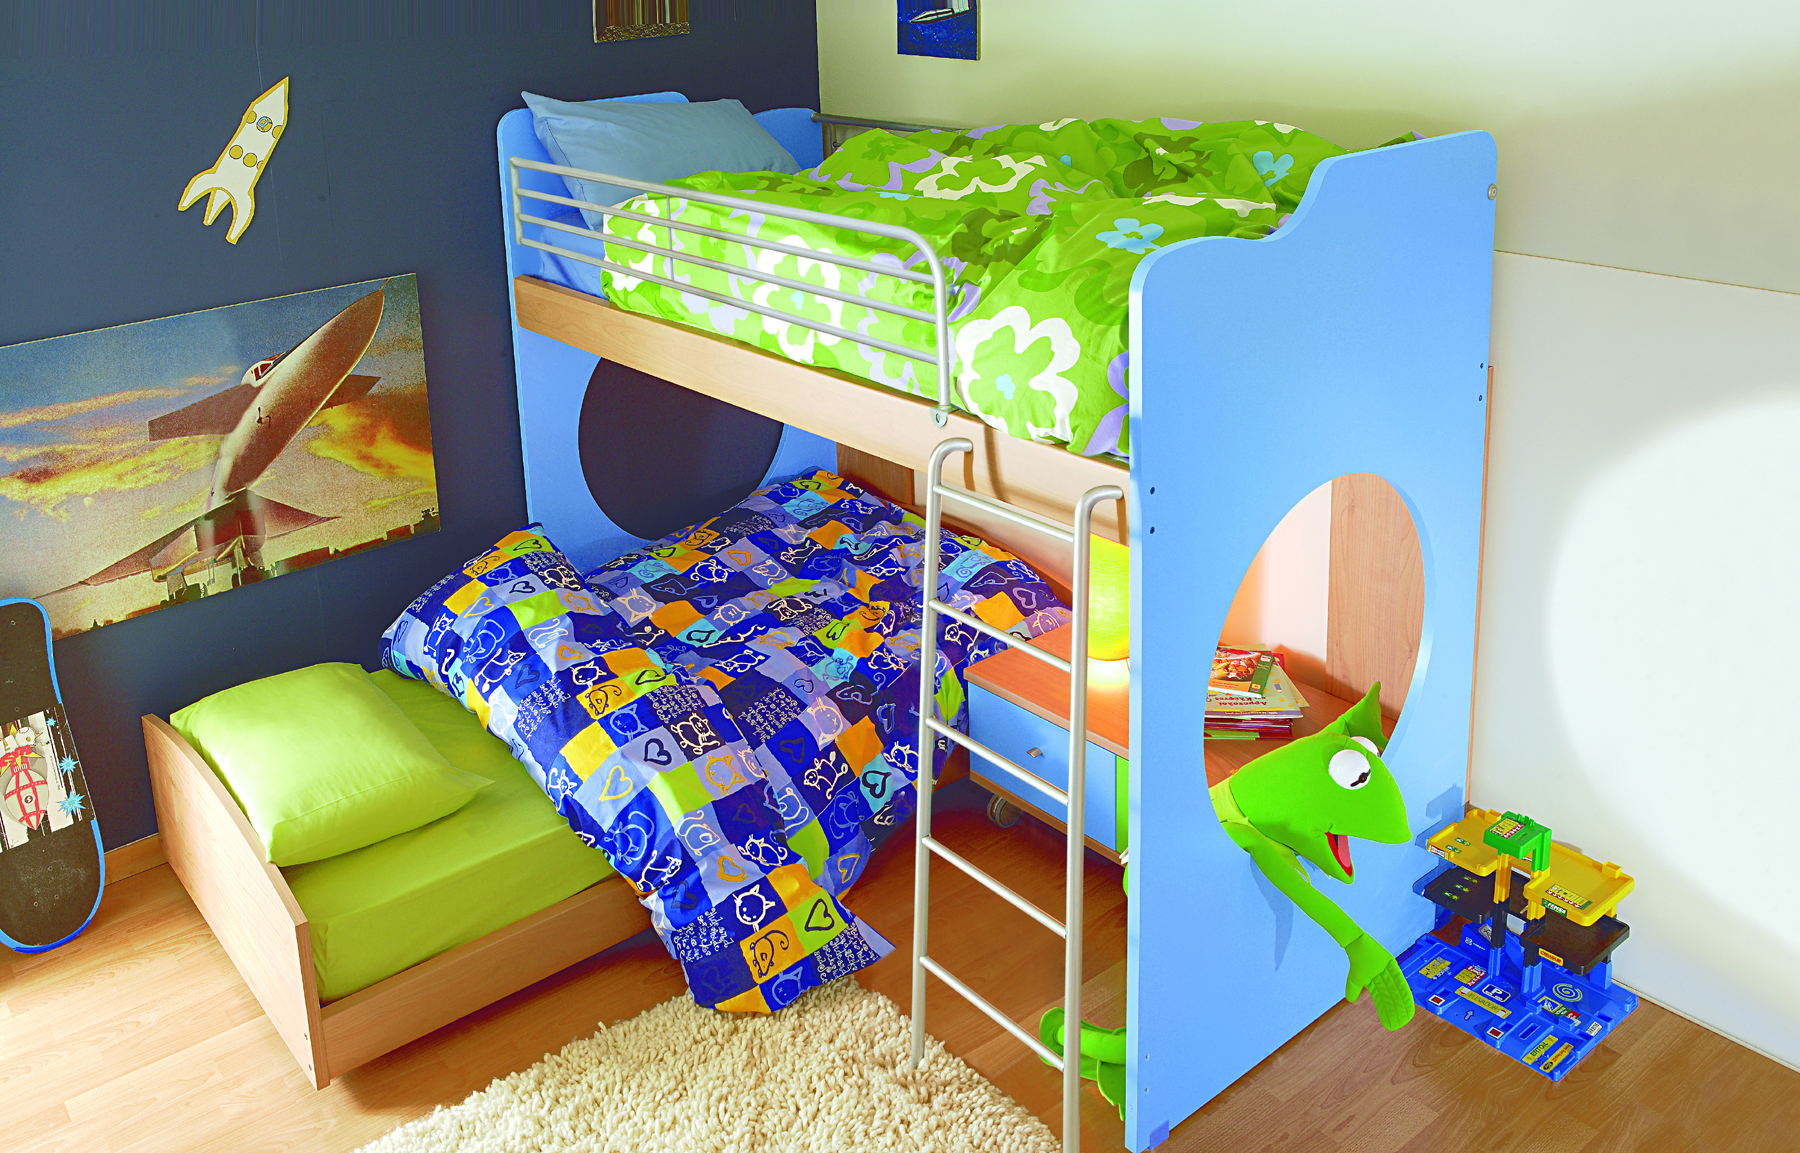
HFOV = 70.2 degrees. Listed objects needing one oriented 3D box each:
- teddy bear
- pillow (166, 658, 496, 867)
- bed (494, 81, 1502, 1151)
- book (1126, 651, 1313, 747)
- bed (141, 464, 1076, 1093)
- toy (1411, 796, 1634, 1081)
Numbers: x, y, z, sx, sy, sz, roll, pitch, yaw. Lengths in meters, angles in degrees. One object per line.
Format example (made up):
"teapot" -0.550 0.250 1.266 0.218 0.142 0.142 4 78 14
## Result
"teddy bear" 0.799 0.768 3.828 1.308 1.371 0.857 3 19 5
"pillow" -1.796 0.556 4.034 0.643 0.263 0.796 -24 37 -34
"bed" 0.775 -0.033 3.783 1.645 2.358 1.702 -21 36 -29
"book" 1.074 0.370 3.956 0.338 0.077 0.326 12 24 30
"bed" -0.875 0.580 4.103 2.125 0.566 2.009 -22 40 -32
"toy" 1.813 1.052 3.693 0.428 0.513 0.533 -26 35 -30
